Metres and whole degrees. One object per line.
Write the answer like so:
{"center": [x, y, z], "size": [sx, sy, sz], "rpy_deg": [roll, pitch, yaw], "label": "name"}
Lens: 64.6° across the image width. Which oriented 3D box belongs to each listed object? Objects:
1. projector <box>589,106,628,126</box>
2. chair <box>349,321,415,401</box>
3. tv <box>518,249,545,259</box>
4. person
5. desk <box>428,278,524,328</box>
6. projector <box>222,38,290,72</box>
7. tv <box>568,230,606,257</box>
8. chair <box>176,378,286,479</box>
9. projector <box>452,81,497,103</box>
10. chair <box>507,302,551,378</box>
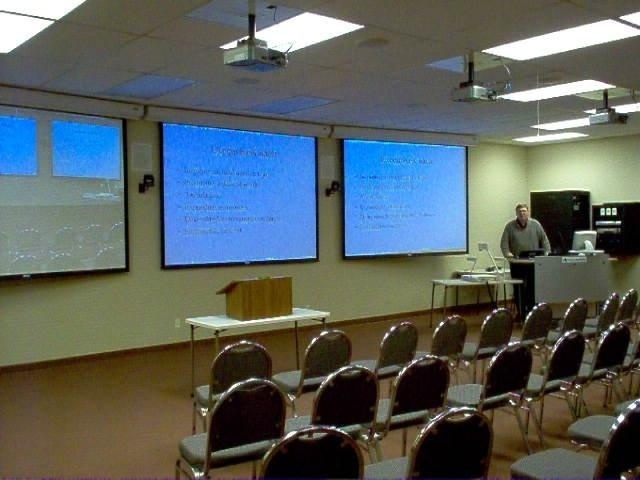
{"center": [3.985, -1.690, 7.046], "size": [0.349, 0.179, 0.367], "rpy_deg": [3, 3, 45], "label": "projector"}
{"center": [0.592, 1.148, 4.739], "size": [0.532, 0.879, 0.557], "rpy_deg": [-2, 6, -40], "label": "chair"}
{"center": [3.712, 0.256, 8.959], "size": [0.274, 0.090, 0.186], "rpy_deg": [-1, -20, -11], "label": "tv"}
{"center": [3.889, 0.483, 9.485], "size": [0.811, 2.212, 0.730], "rpy_deg": [-5, 12, 22], "label": "person"}
{"center": [2.899, 1.443, 10.134], "size": [1.786, 0.903, 0.962], "rpy_deg": [-1, 1, -32], "label": "desk"}
{"center": [-0.526, -1.539, 4.328], "size": [0.338, 0.176, 0.357], "rpy_deg": [1, -1, -39], "label": "projector"}
{"center": [4.512, 0.059, 8.639], "size": [0.497, 0.366, 0.487], "rpy_deg": [-1, 2, 9], "label": "tv"}
{"center": [-0.554, 1.143, 3.156], "size": [0.650, 0.649, 0.414], "rpy_deg": [-1, 2, -11], "label": "chair"}
{"center": [1.745, -1.596, 5.634], "size": [0.386, 0.143, 0.282], "rpy_deg": [4, -2, -40], "label": "projector"}
{"center": [2.149, 1.031, 5.362], "size": [0.499, 0.756, 0.527], "rpy_deg": [-4, 5, -37], "label": "chair"}
